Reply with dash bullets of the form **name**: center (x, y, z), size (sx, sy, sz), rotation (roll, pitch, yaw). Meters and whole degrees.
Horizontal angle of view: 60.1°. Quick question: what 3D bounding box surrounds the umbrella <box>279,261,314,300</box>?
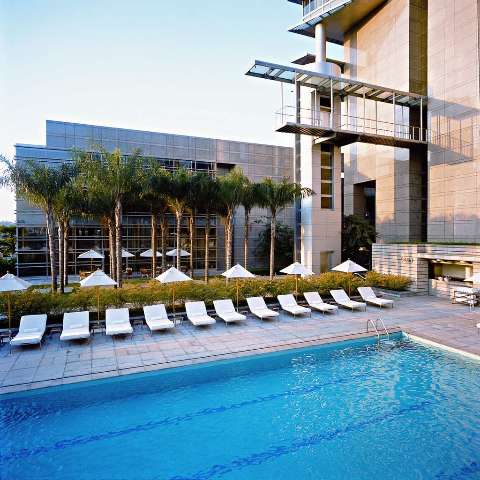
- **umbrella**: center (2.554, 1.740, 17.459), size (1.327, 2.203, 1.616), rotation (0, 0, -4)

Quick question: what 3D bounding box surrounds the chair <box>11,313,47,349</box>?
- **chair**: center (-6.295, 2.773, 12.398), size (0.823, 0.804, 1.197), rotation (-2, 9, -22)

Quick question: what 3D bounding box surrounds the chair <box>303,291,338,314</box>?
- **chair**: center (3.191, 2.499, 16.661), size (0.643, 0.751, 1.273), rotation (-2, 3, -16)

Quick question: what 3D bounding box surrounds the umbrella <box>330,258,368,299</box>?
- **umbrella**: center (4.984, 1.596, 18.053), size (1.399, 2.170, 1.665), rotation (0, -2, -1)

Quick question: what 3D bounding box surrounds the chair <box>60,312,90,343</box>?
- **chair**: center (-5.059, 2.639, 12.754), size (0.642, 0.638, 1.152), rotation (-2, 7, -16)

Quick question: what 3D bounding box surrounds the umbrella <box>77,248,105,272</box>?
- **umbrella**: center (-10.176, 1.308, 28.055), size (1.354, 1.408, 1.458), rotation (0, 0, -21)

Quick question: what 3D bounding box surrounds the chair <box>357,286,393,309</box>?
- **chair**: center (5.741, 2.447, 17.838), size (0.730, 0.869, 1.404), rotation (-3, 5, -15)

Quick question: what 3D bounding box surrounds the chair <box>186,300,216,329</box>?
- **chair**: center (-1.454, 2.611, 14.438), size (0.593, 0.582, 1.138), rotation (-2, 8, -18)

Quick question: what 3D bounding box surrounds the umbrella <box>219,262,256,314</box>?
- **umbrella**: center (-0.061, 1.862, 16.499), size (1.337, 2.525, 1.622), rotation (1, 1, -9)

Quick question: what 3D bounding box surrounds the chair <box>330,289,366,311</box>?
- **chair**: center (4.398, 2.569, 17.342), size (0.683, 0.679, 1.315), rotation (-3, 3, -19)

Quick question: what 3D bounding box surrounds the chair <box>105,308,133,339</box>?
- **chair**: center (-3.850, 2.585, 13.221), size (0.779, 0.973, 0.875), rotation (0, -2, -22)

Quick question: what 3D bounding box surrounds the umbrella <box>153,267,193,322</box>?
- **umbrella**: center (-2.499, 1.849, 14.952), size (1.441, 2.677, 1.359), rotation (-3, 4, -37)

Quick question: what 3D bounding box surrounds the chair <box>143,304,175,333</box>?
- **chair**: center (-2.739, 2.551, 13.821), size (0.632, 0.593, 1.153), rotation (-2, 8, -19)

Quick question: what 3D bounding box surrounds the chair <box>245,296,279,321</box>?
- **chair**: center (0.780, 2.539, 15.582), size (0.633, 0.637, 1.138), rotation (-2, 5, -19)

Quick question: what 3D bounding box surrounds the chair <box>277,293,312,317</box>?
- **chair**: center (2.039, 2.557, 16.175), size (0.652, 0.705, 1.212), rotation (-2, 1, -17)

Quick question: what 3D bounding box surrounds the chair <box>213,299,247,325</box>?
- **chair**: center (-0.385, 2.647, 15.158), size (0.984, 0.753, 1.663), rotation (-2, 9, -16)
